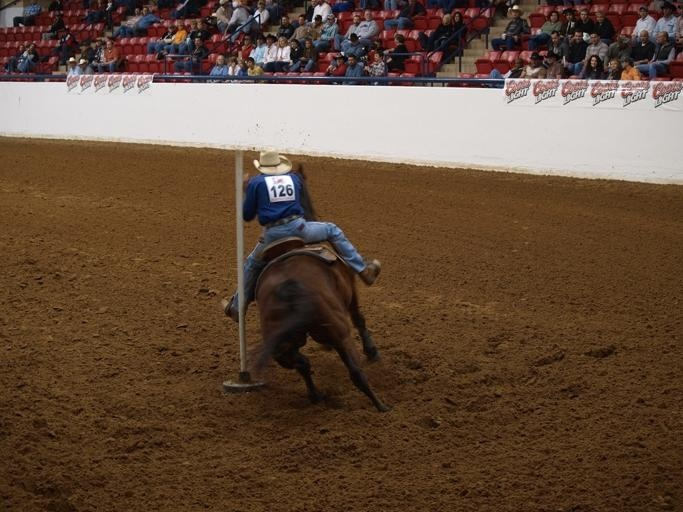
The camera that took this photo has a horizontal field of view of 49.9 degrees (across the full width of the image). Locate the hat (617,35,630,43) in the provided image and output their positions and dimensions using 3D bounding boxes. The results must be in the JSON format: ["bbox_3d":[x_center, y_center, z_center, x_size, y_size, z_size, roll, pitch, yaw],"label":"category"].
[{"bbox_3d":[6.691,-5.070,17.292,0.255,0.232,0.623,9,16,22],"label":"hat"}]

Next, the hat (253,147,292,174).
[{"bbox_3d":[-0.851,-1.106,8.683,0.355,0.147,0.376,-18,30,-12],"label":"hat"}]

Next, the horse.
[{"bbox_3d":[-0.267,0.450,8.262,1.397,2.489,1.887,1,16,-6],"label":"horse"}]
